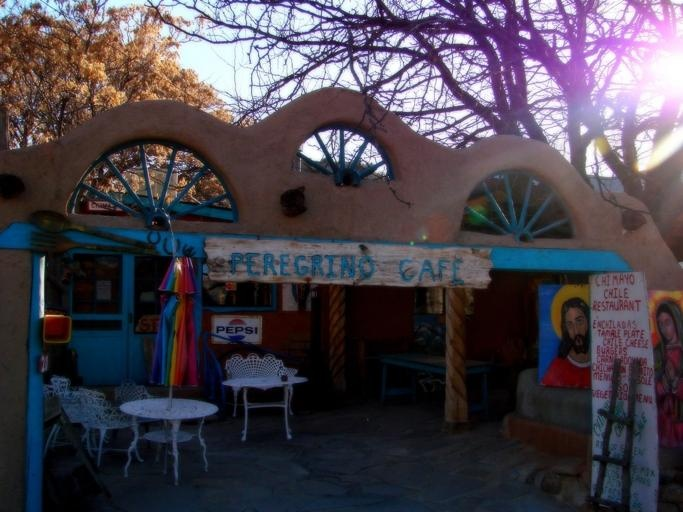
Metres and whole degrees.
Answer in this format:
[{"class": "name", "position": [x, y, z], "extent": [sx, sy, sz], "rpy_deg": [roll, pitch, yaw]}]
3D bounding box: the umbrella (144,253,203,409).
[{"class": "umbrella", "position": [-2.121, 0.835, 7.751], "extent": [0.580, 1.670, 0.528], "rpy_deg": [1, -6, -19]}]

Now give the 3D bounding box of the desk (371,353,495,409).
[{"class": "desk", "position": [1.907, 2.753, 13.177], "extent": [1.815, 1.205, 3.329], "rpy_deg": [0, -7, -16]}]

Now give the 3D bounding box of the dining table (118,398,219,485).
[{"class": "dining table", "position": [-2.477, 2.758, 9.061], "extent": [1.586, 0.919, 1.547], "rpy_deg": [11, -9, -42]}]

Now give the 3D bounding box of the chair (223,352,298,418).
[{"class": "chair", "position": [-1.606, 2.454, 11.807], "extent": [1.509, 1.177, 0.957], "rpy_deg": [4, -7, -32]}]
